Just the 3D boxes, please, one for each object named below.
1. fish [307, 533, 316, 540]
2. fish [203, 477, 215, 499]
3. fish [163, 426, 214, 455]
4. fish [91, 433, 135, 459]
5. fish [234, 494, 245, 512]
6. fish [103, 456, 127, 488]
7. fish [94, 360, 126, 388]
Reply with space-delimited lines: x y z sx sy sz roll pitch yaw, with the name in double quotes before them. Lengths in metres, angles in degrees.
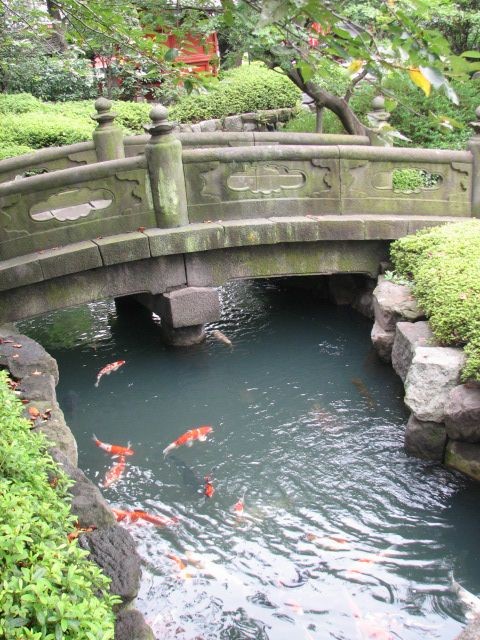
"fish" 0.482 1.452 3.539 0.067 0.009 0.070 5 16 34
"fish" -0.236 1.267 4.044 0.058 0.060 0.169 3 6 1
"fish" -0.434 1.025 4.640 0.518 0.150 0.138 -14 17 -36
"fish" -1.078 1.096 4.551 0.284 0.142 0.113 17 67 19
"fish" -0.004 1.352 3.862 0.056 0.052 0.123 -12 0 5
"fish" -1.004 1.223 4.273 0.125 0.065 0.287 -40 13 11
"fish" -1.451 0.612 5.898 0.392 0.080 0.154 -27 46 26
